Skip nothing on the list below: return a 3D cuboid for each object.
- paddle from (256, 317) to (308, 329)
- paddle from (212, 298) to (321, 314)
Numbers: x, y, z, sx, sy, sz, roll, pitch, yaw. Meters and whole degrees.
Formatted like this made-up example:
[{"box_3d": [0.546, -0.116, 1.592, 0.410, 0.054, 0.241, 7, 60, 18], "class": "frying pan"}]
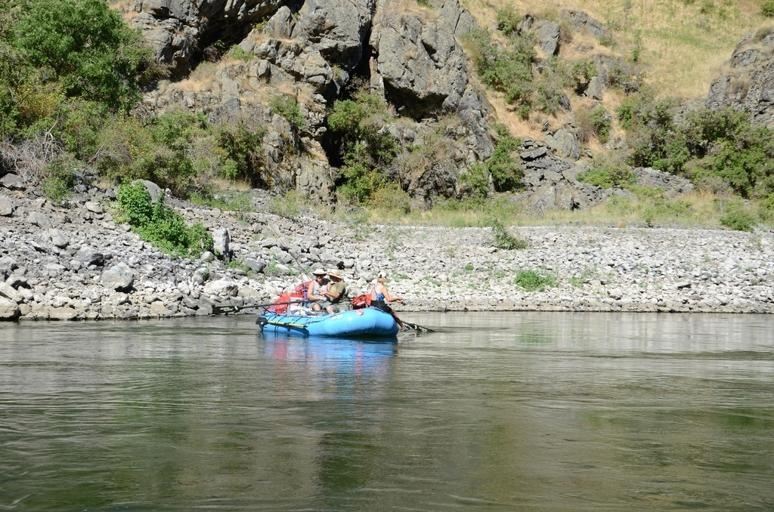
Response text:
[{"box_3d": [-4.602, 3.011, 50.293, 1.771, 0.293, 0.360, 6, 23, 27], "class": "paddle"}, {"box_3d": [-5.704, 2.366, 52.909, 4.328, 0.583, 0.339, -8, 13, 38], "class": "paddle"}]
